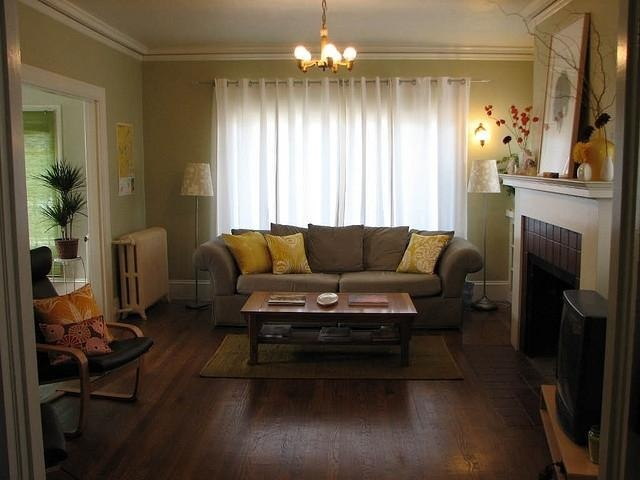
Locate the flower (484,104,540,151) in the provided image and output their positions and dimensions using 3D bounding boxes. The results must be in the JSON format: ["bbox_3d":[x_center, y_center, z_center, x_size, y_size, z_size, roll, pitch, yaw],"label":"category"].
[{"bbox_3d":[2.142,-1.300,5.637,0.527,0.527,0.958,3,11,17],"label":"flower"}]

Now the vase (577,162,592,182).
[{"bbox_3d":[1.825,-0.474,3.424,0.056,0.117,0.108,-4,11,-19],"label":"vase"}]

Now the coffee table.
[{"bbox_3d":[0.079,0.799,4.509,1.495,0.536,0.533,1,11,4],"label":"coffee table"}]

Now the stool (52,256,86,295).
[{"bbox_3d":[-3.018,0.422,5.943,0.319,0.500,0.332,-9,17,-35],"label":"stool"}]

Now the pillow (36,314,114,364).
[{"bbox_3d":[-1.667,0.688,3.393,0.465,0.260,0.390,-6,12,-30],"label":"pillow"}]

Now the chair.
[{"bbox_3d":[-1.718,0.687,3.529,0.912,1.142,0.806,2,5,-11],"label":"chair"}]

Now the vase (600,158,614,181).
[{"bbox_3d":[1.889,-0.467,3.251,0.062,0.151,0.036,2,11,14],"label":"vase"}]

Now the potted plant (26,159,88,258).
[{"bbox_3d":[-2.705,-0.294,5.291,0.510,1.012,0.511,-2,0,23],"label":"potted plant"}]

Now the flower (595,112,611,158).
[{"bbox_3d":[1.952,-0.735,3.423,0.099,0.302,0.105,-2,9,-10],"label":"flower"}]
